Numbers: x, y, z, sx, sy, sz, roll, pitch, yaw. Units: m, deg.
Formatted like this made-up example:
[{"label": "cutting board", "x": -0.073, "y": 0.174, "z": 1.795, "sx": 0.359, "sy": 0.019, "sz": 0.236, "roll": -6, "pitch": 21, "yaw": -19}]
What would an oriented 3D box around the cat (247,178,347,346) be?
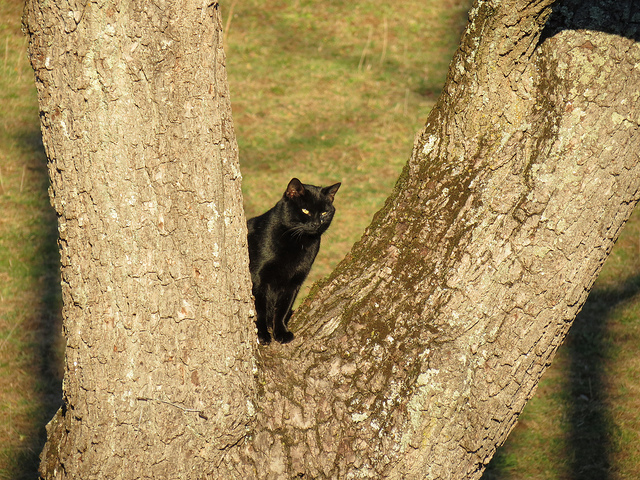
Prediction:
[{"label": "cat", "x": -0.230, "y": 0.288, "z": 10.895, "sx": 0.354, "sy": 1.540, "sz": 0.970, "roll": 9, "pitch": 51, "yaw": -14}]
